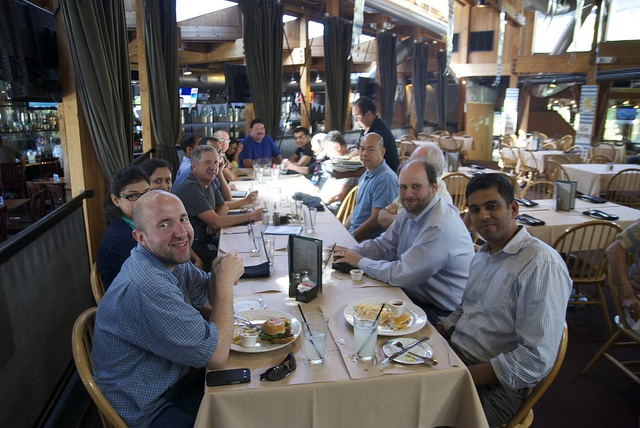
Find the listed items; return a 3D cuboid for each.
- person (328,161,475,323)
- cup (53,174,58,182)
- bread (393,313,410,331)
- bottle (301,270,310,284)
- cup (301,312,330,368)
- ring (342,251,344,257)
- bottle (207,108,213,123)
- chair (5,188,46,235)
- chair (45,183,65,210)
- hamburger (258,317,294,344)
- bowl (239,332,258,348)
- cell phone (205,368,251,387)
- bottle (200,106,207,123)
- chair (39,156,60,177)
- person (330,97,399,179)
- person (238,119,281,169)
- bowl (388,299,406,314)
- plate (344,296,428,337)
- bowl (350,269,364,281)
[{"bbox_3d":[0.706,0.238,3.248,1.006,1.206,1.004,10,18,32],"label":"person"},{"bbox_3d":[-4.871,-0.674,7.817,0.074,0.037,0.208,-5,21,-26],"label":"cup"},{"bbox_3d":[0.455,0.609,2.410,0.076,0.022,0.073,-18,28,-9],"label":"bread"},{"bbox_3d":[-0.097,0.393,2.659,0.063,0.089,0.064,1,17,0],"label":"bottle"},{"bbox_3d":[-0.028,0.637,2.163,0.203,0.313,0.215,0,2,0],"label":"cup"},{"bbox_3d":[0.159,0.284,3.045,0.023,0.031,0.010,1,-7,-13],"label":"ring"},{"bbox_3d":[-2.953,-2.654,11.420,0.111,0.379,0.234,1,17,17],"label":"bottle"},{"bbox_3d":[-4.002,-0.044,5.763,0.487,0.768,0.439,2,30,-22],"label":"chair"},{"bbox_3d":[-3.934,-0.270,6.372,0.214,0.351,0.561,-14,19,-31],"label":"chair"},{"bbox_3d":[-0.223,0.630,2.311,0.138,0.047,0.139,3,22,-9],"label":"hamburger"},{"bbox_3d":[-0.395,0.665,2.268,0.069,0.046,0.070,3,8,0],"label":"bowl"},{"bbox_3d":[-0.456,0.802,2.101,0.155,0.026,0.089,-2,13,-15],"label":"cell phone"},{"bbox_3d":[-3.048,-2.610,11.149,0.122,0.406,0.340,-1,17,12],"label":"bottle"},{"bbox_3d":[-5.321,-0.929,8.318,0.308,0.546,0.355,-8,26,-34],"label":"chair"},{"bbox_3d":[0.614,-1.030,5.812,0.951,0.992,0.670,-3,11,-23],"label":"person"},{"bbox_3d":[-0.973,-1.124,7.031,0.703,0.905,0.775,-5,15,-9],"label":"person"},{"bbox_3d":[0.454,0.544,2.528,0.069,0.048,0.070,1,12,0],"label":"bowl"},{"bbox_3d":[0.426,0.583,2.475,0.256,0.038,0.254,-7,22,-20],"label":"plate"},{"bbox_3d":[0.240,0.410,2.892,0.068,0.040,0.068,0,13,0],"label":"bowl"}]
